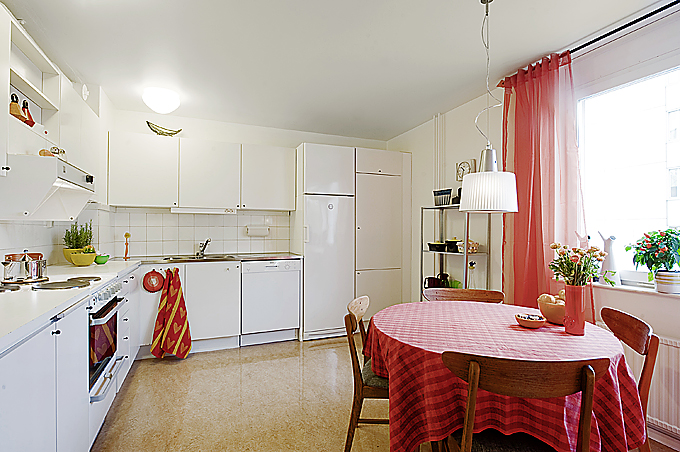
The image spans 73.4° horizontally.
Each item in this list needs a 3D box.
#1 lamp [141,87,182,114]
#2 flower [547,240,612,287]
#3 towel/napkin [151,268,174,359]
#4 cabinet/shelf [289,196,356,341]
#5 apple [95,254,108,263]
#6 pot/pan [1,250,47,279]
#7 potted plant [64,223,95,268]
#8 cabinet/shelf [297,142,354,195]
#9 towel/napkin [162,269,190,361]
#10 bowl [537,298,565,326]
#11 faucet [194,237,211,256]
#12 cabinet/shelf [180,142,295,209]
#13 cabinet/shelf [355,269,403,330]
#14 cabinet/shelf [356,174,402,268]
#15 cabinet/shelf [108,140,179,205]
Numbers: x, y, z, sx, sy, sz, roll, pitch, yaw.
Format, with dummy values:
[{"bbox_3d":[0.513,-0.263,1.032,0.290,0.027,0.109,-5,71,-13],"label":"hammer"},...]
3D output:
[{"bbox_3d":[-1.880,-1.296,4.780,0.295,0.072,0.304,4,-1,-6],"label":"lamp"},{"bbox_3d":[1.742,0.298,3.417,0.357,0.311,0.398,-4,5,-12],"label":"flower"},{"bbox_3d":[-1.979,0.976,5.084,0.223,0.973,0.315,1,13,6],"label":"towel/napkin"},{"bbox_3d":[-0.158,0.487,5.816,0.696,1.766,0.495,-2,13,-8],"label":"cabinet/shelf"},{"bbox_3d":[-2.508,0.340,4.815,0.092,0.058,0.086,3,-8,-15],"label":"apple"},{"bbox_3d":[-2.576,0.307,3.737,0.222,0.230,0.293,0,1,-30],"label":"pot/pan"},{"bbox_3d":[-2.667,0.214,4.713,0.290,0.395,0.367,-3,1,-21],"label":"potted plant"},{"bbox_3d":[-0.184,-0.715,5.820,0.623,0.609,0.323,3,-3,-25],"label":"cabinet/shelf"},{"bbox_3d":[-1.819,0.922,5.072,0.314,1.154,0.105,1,19,-17],"label":"towel/napkin"},{"bbox_3d":[1.602,0.633,3.459,0.169,0.111,0.176,3,1,0],"label":"bowl"},{"bbox_3d":[-1.722,0.258,5.780,0.210,0.220,0.267,-5,13,-18],"label":"faucet"},{"bbox_3d":[-1.322,-0.718,5.941,1.432,0.934,0.469,-2,21,-19],"label":"cabinet/shelf"},{"bbox_3d":[0.528,0.883,6.215,0.619,0.637,0.333,0,-8,6],"label":"cabinet/shelf"},{"bbox_3d":[0.521,-0.071,6.065,0.688,1.224,0.362,-3,13,-10],"label":"cabinet/shelf"},{"bbox_3d":[-2.347,-0.636,5.370,0.729,0.867,0.272,1,-2,-25],"label":"cabinet/shelf"}]
